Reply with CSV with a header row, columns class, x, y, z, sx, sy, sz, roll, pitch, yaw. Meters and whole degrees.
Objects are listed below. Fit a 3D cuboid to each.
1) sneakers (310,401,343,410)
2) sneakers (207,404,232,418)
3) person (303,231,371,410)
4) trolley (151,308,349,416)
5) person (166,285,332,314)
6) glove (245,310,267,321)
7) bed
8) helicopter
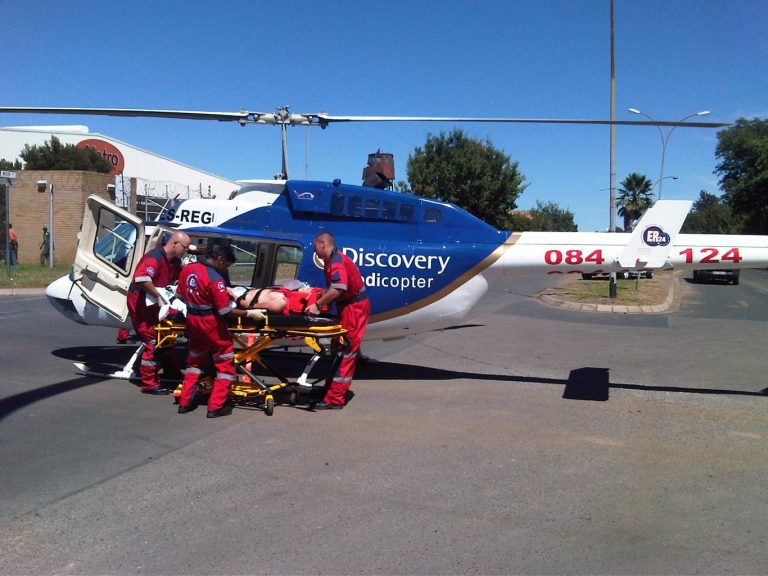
class,x,y,z,sx,sy,sz,roll,pitch,yaw
sneakers,-0.740,1.452,8.421,0.367,0.135,0.117,-2,0,7
sneakers,-2.008,1.485,8.077,0.109,0.120,0.303,2,-3,16
person,-0.584,0.428,8.548,0.759,2.205,0.824,0,15,-3
trolley,-1.871,0.919,8.825,2.894,1.226,0.861,0,-13,20
person,-1.370,0.128,8.493,1.282,0.303,0.703,3,9,8
glove,-1.599,0.317,8.292,0.220,0.083,0.126,15,21,23
bed,-1.841,0.902,8.805,2.710,1.152,0.804,0,-11,21
helicopter,-0.759,-0.726,9.584,6.722,1.753,5.470,1,5,3
